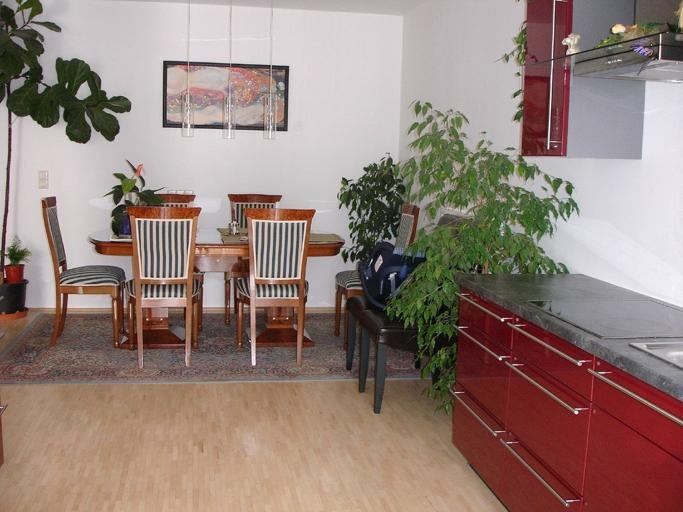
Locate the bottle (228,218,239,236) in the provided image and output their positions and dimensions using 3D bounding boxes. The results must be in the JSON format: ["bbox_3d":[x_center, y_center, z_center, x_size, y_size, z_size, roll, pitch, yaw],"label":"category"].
[{"bbox_3d":[-1.024,-0.262,4.804,0.116,0.146,0.149,0,2,3],"label":"bottle"}]

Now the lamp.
[{"bbox_3d":[-1.083,-1.815,4.808,0.937,1.440,1.655,0,10,-8],"label":"lamp"}]

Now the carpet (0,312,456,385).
[{"bbox_3d":[-1.450,0.782,4.570,2.946,0.044,1.663,1,10,-6],"label":"carpet"}]
